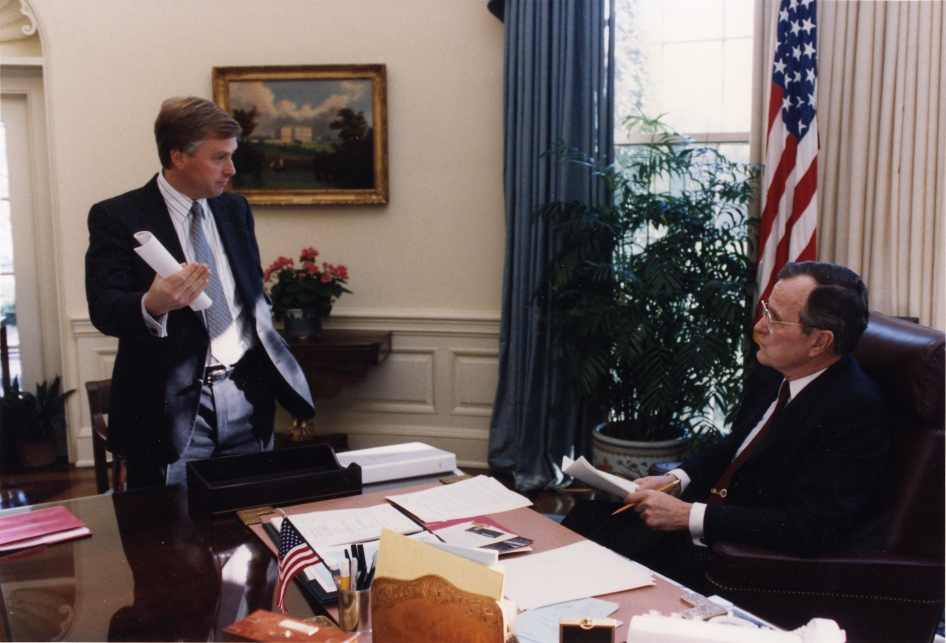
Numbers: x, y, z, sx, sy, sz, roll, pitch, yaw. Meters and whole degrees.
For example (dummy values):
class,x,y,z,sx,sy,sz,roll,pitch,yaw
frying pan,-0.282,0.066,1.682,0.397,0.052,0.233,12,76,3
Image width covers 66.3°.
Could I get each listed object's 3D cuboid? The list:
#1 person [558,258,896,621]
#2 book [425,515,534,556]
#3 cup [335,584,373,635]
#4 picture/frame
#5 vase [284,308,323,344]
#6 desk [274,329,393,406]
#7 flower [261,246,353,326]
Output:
class,x,y,z,sx,sy,sz,roll,pitch,yaw
person,0.754,0.311,2.998,1.238,1.433,0.936,1,8,1
book,0.029,0.630,2.105,0.179,0.045,0.182,-4,9,-29
cup,-0.288,0.729,1.870,0.110,0.126,0.112,0,-3,0
picture/frame,-1.073,-1.248,4.691,1.289,1.098,0.104,0,3,2
vase,-1.100,0.029,4.635,0.198,0.169,0.214,1,1,3
desk,-0.917,0.209,4.735,0.716,0.360,0.478,-11,-26,36
flower,-1.069,-0.238,4.712,0.520,0.522,0.528,4,11,23
